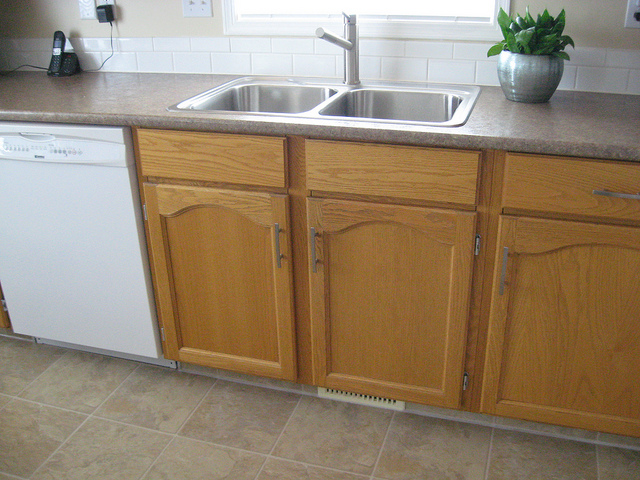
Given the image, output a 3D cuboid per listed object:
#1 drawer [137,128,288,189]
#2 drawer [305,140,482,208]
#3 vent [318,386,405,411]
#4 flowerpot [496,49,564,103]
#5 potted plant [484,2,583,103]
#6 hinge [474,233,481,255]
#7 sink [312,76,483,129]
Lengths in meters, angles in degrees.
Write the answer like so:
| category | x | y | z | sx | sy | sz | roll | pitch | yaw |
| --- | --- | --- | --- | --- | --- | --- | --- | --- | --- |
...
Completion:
| category | x | y | z | sx | sy | sz | roll | pitch | yaw |
| --- | --- | --- | --- | --- | --- | --- | --- | --- | --- |
| drawer | -0.389 | -0.292 | 1.930 | 0.566 | 0.198 | 0.042 | 5 | 28 | 15 |
| drawer | 0.291 | -0.319 | 2.021 | 0.618 | 0.224 | 0.573 | 5 | 26 | 13 |
| vent | 0.168 | 0.647 | 2.186 | 0.235 | 0.040 | 0.141 | 4 | 11 | 14 |
| flowerpot | 0.734 | -0.600 | 1.991 | 0.219 | 0.199 | 0.198 | 1 | 25 | 3 |
| potted plant | 0.697 | -0.692 | 2.124 | 0.462 | 0.417 | 0.457 | 2 | 22 | 8 |
| hinge | 0.526 | 0.016 | 1.799 | 0.017 | 0.069 | 0.019 | 5 | 28 | 15 |
| sink | 0.326 | -0.538 | 2.133 | 0.482 | 0.244 | 0.423 | 9 | 35 | 15 |
